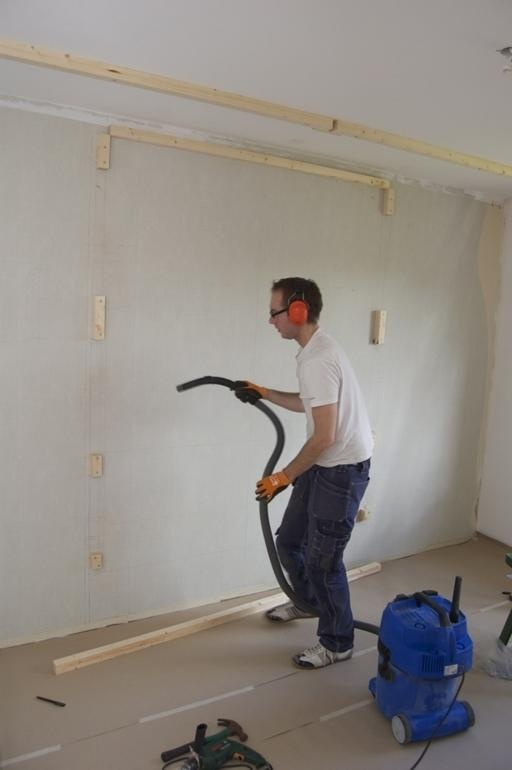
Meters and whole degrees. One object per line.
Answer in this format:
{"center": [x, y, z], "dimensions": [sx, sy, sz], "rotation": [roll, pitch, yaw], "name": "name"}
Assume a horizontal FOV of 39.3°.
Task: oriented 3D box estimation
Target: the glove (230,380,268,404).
{"center": [-0.028, 0.023, 2.939], "dimensions": [0.127, 0.082, 0.058], "rotation": [-11, 0, -6], "name": "glove"}

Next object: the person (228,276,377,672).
{"center": [0.167, 0.325, 2.920], "dimensions": [0.635, 1.453, 0.631], "rotation": [3, 12, -17], "name": "person"}

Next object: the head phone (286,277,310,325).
{"center": [0.162, -0.290, 2.692], "dimensions": [0.087, 0.149, 0.068], "rotation": [1, 13, -9], "name": "head phone"}

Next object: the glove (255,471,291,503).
{"center": [0.040, 0.381, 2.695], "dimensions": [0.146, 0.080, 0.049], "rotation": [-29, -26, 30], "name": "glove"}
